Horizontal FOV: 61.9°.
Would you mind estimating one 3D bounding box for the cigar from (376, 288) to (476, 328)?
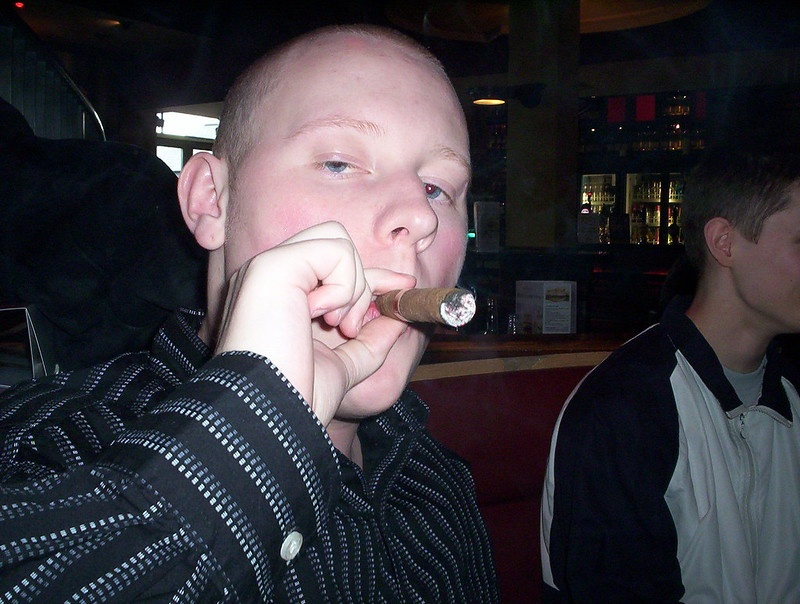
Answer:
[{"bbox_3d":[0.053,0.003,1.590,0.084,0.086,0.285,-45,21,-20],"label":"cigar"}]

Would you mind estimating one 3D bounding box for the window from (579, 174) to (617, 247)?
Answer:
[{"bbox_3d":[2.886,-1.519,10.232,0.621,0.949,0.651,1,10,-19],"label":"window"}]
